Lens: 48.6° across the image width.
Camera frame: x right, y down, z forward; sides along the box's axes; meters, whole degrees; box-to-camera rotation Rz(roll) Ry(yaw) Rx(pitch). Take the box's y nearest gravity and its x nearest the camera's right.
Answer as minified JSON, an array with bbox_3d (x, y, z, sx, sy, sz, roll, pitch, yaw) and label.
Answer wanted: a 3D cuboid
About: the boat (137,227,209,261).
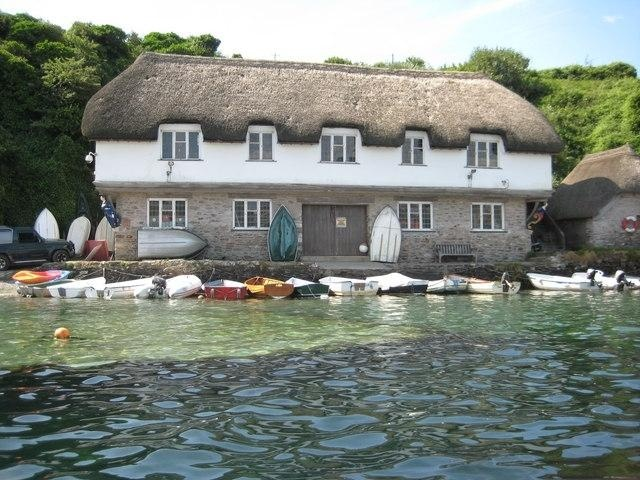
[{"bbox_3d":[-5.976,0.169,28.640,2.647,0.969,0.877,1,-13,-12],"label":"boat"}]

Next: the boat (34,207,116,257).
[{"bbox_3d":[-12.844,-0.328,36.556,2.841,4.093,0.666,4,-30,-16],"label":"boat"}]

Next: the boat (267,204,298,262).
[{"bbox_3d":[-1.590,-0.254,29.878,1.284,2.255,0.856,-2,10,-14],"label":"boat"}]

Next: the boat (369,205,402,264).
[{"bbox_3d":[2.862,-0.171,30.850,1.641,2.107,0.844,1,0,-9],"label":"boat"}]
